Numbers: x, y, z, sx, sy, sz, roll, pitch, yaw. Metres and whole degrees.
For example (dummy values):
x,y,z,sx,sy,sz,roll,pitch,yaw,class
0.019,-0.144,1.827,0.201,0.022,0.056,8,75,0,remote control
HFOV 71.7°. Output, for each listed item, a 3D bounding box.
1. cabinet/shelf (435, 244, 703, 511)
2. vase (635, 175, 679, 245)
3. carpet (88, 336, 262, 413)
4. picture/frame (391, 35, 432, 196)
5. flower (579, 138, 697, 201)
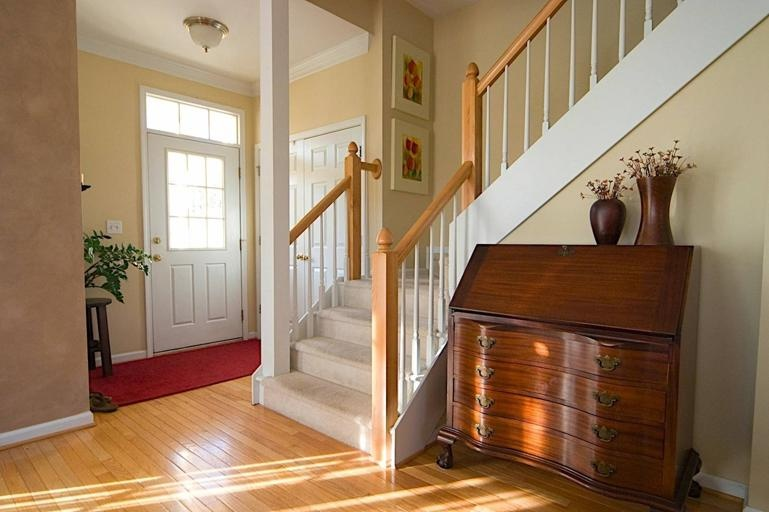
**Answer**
x,y,z,sx,sy,sz,roll,pitch,yaw,class
1.182,0.765,3.258,1.545,1.661,0.954,2,3,37,cabinet/shelf
1.702,-0.293,3.349,0.221,0.437,0.152,4,5,29,vase
-1.978,1.119,5.232,1.664,0.090,1.227,-3,6,-42,carpet
0.274,-1.435,5.520,0.119,1.552,0.601,5,6,42,picture/frame
1.674,-0.536,3.557,0.635,0.254,0.316,-9,-4,25,flower
